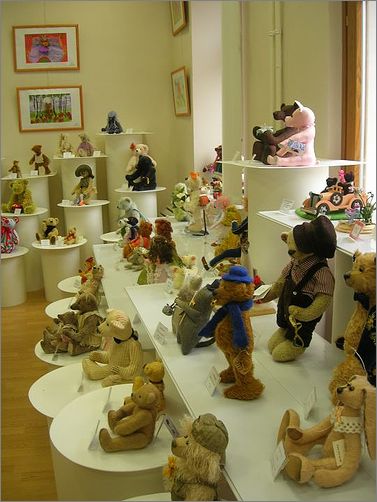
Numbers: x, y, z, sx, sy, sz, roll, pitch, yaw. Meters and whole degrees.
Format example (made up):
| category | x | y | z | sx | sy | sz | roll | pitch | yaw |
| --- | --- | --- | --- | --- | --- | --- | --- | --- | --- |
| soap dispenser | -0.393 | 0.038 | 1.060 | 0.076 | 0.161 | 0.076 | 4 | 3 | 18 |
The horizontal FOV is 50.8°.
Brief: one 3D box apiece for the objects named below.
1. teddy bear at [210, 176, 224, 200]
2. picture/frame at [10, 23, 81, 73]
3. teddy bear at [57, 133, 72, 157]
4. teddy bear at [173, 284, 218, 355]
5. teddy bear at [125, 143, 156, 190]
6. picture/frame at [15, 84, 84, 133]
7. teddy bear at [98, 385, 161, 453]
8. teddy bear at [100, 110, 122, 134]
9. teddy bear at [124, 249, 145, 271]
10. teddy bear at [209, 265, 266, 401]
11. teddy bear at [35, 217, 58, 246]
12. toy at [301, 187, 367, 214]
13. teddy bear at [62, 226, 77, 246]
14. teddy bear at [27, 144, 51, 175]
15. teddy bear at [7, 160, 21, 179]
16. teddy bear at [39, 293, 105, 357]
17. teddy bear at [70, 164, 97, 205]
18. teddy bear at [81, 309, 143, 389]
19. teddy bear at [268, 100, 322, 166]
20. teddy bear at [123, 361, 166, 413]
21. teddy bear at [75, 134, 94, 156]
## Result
| category | x | y | z | sx | sy | sz | roll | pitch | yaw |
| --- | --- | --- | --- | --- | --- | --- | --- | --- | --- |
| teddy bear | 0.324 | -0.721 | 4.512 | 0.110 | 0.301 | 0.280 | -6 | -1 | 0 |
| picture/frame | -2.036 | -2.847 | 5.546 | 0.770 | 0.501 | 0.035 | -1 | 6 | -6 |
| teddy bear | -1.743 | -1.459 | 5.528 | 0.194 | 0.303 | 0.648 | -8 | 14 | -16 |
| teddy bear | 0.033 | 0.266 | 1.691 | 0.172 | 0.301 | 0.328 | 6 | 8 | -13 |
| teddy bear | -0.626 | -1.071 | 5.133 | 0.389 | 0.589 | 0.261 | -6 | 15 | -9 |
| picture/frame | -2.035 | -2.051 | 5.683 | 0.819 | 0.536 | 0.031 | -2 | 9 | -8 |
| teddy bear | -0.218 | 0.576 | 1.409 | 0.199 | 0.214 | 0.174 | 5 | 6 | -19 |
| teddy bear | -1.075 | -1.752 | 5.484 | 0.244 | 0.304 | 0.305 | -9 | 15 | -21 |
| teddy bear | -0.408 | 0.072 | 3.036 | 0.127 | 0.155 | 0.101 | -13 | 28 | -18 |
| teddy bear | 0.159 | 0.246 | 1.279 | 0.147 | 0.415 | 0.224 | -3 | 14 | 3 |
| teddy bear | -1.689 | -0.225 | 4.718 | 0.258 | 0.290 | 0.390 | -9 | 15 | -20 |
| toy | 0.620 | -0.212 | 1.688 | 0.251 | 0.102 | 0.123 | -6 | 11 | -12 |
| teddy bear | -1.373 | -0.181 | 4.698 | 0.193 | 0.236 | 0.183 | 2 | -1 | 1 |
| teddy bear | -2.085 | -1.266 | 5.521 | 0.264 | 0.416 | 0.623 | -9 | 15 | -20 |
| teddy bear | -2.300 | -1.071 | 5.234 | 0.108 | 0.216 | 0.300 | -11 | 16 | -25 |
| teddy bear | -0.719 | 0.450 | 2.482 | 0.398 | 0.366 | 0.272 | -2 | 15 | -9 |
| teddy bear | -1.443 | -0.907 | 5.377 | 0.318 | 0.518 | 0.561 | -7 | 14 | -14 |
| teddy bear | -0.359 | 0.483 | 1.927 | 0.285 | 0.350 | 0.292 | -11 | 18 | -37 |
| teddy bear | 0.503 | -0.585 | 1.962 | 0.211 | 0.252 | 0.207 | 12 | 23 | 31 |
| teddy bear | -0.179 | 0.519 | 1.555 | 0.142 | 0.178 | 0.137 | 5 | 1 | -17 |
| teddy bear | -1.412 | -1.423 | 5.366 | 0.229 | 0.307 | 0.236 | -6 | 14 | -11 |
